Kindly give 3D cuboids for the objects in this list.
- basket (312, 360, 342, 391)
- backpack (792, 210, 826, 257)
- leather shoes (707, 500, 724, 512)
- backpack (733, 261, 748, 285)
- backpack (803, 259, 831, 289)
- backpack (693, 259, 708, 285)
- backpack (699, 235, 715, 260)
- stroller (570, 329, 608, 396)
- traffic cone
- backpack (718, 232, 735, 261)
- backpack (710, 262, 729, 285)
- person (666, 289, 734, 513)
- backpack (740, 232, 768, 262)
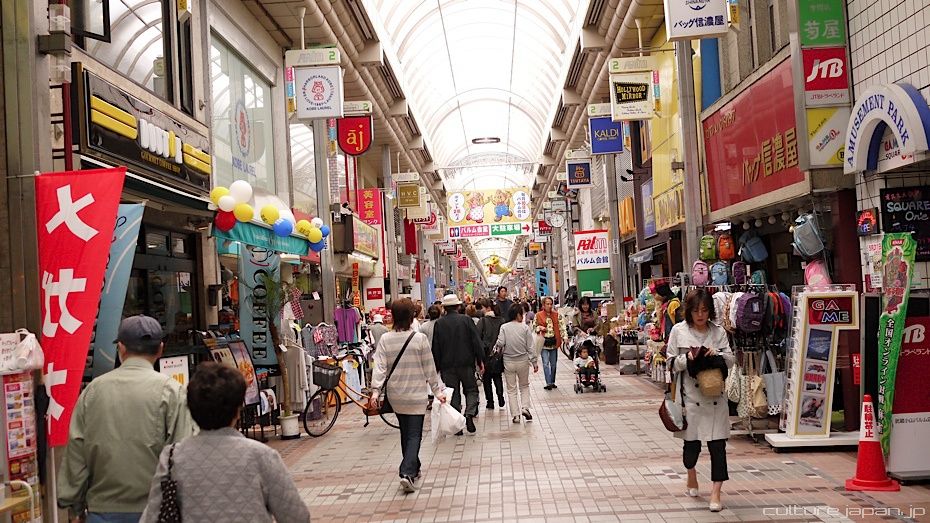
[{"bbox_3d":[-2.515,2.039,11.435,0.458,0.388,0.540,4,6,37],"label":"basket"},{"bbox_3d":[5.326,-0.427,9.734,0.376,0.629,0.490,-24,-10,40],"label":"backpack"},{"bbox_3d":[2.798,2.702,7.023,0.162,0.110,0.101,-4,-1,-1],"label":"leather shoes"},{"bbox_3d":[5.162,0.217,11.814,0.286,0.453,0.436,-4,-1,6],"label":"backpack"},{"bbox_3d":[5.342,0.195,9.558,0.233,0.390,0.412,1,0,-27],"label":"backpack"},{"bbox_3d":[4.593,0.240,12.339,0.393,0.553,0.322,-2,-28,23],"label":"backpack"},{"bbox_3d":[4.879,-0.262,12.720,0.324,0.526,0.246,-4,-1,16],"label":"backpack"},{"bbox_3d":[2.745,2.163,14.220,0.714,1.483,1.024,-1,6,1],"label":"stroller"},{"bbox_3d":[4.732,2.091,7.424,0.661,1.244,0.394,-4,-1,6],"label":"traffic cone"},{"bbox_3d":[5.170,-0.271,12.538,0.306,0.528,0.388,-4,-1,24],"label":"backpack"},{"bbox_3d":[4.814,0.240,11.965,0.306,0.394,0.382,-2,-7,14],"label":"backpack"},{"bbox_3d":[2.683,1.521,7.497,0.846,2.179,1.035,-1,-2,-5],"label":"person"},{"bbox_3d":[5.429,-0.250,11.931,0.410,0.559,0.307,-27,-5,8],"label":"backpack"}]
